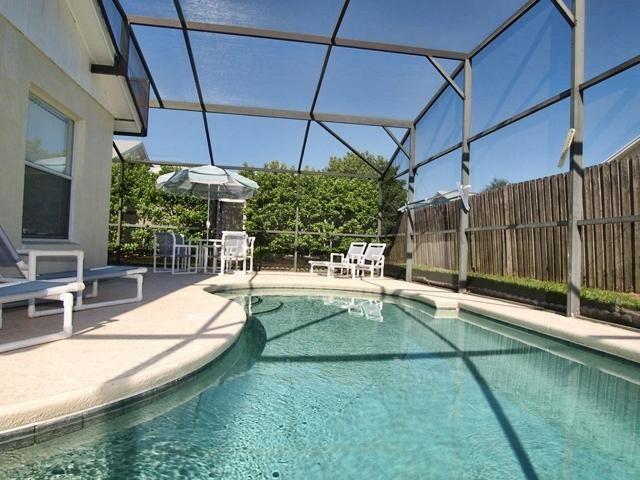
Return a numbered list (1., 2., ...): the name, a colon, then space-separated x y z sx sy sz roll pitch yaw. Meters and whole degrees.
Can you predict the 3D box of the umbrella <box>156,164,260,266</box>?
1. umbrella: -2.696 -0.537 10.839 2.240 2.426 2.276 4 -3 34
